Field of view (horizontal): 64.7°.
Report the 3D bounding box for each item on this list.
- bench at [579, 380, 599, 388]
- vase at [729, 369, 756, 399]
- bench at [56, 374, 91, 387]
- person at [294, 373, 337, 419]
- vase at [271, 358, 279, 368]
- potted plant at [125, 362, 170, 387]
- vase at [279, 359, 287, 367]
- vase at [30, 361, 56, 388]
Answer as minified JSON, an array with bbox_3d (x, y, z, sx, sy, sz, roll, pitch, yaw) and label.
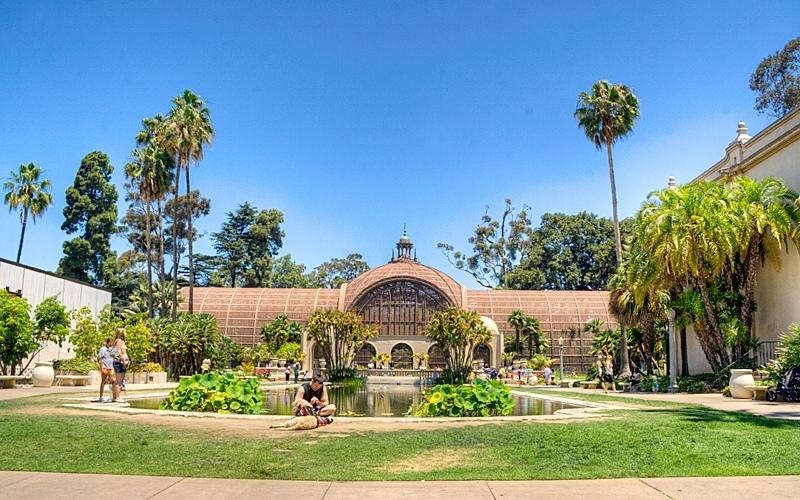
[{"bbox_3d":[11.949,8.572,39.776,1.025,0.487,1.366,-5,-17,20],"label":"bench"},{"bbox_3d":[14.319,5.717,26.779,1.056,1.408,1.153,2,-14,2],"label":"vase"},{"bbox_3d":[-17.482,7.046,33.840,1.837,0.529,1.068,0,-16,0],"label":"bench"},{"bbox_3d":[-2.665,4.601,19.707,1.223,1.504,0.946,0,3,-14],"label":"person"},{"bbox_3d":[-11.778,10.701,59.397,0.778,0.842,0.613,-1,-8,2],"label":"vase"},{"bbox_3d":[-14.858,7.295,37.051,1.692,1.370,2.905,-2,-16,8],"label":"potted plant"},{"bbox_3d":[-11.033,10.707,59.493,0.679,0.529,0.718,2,-15,-9],"label":"vase"},{"bbox_3d":[-18.422,6.534,32.924,1.101,1.457,1.203,-3,-15,0],"label":"vase"}]
